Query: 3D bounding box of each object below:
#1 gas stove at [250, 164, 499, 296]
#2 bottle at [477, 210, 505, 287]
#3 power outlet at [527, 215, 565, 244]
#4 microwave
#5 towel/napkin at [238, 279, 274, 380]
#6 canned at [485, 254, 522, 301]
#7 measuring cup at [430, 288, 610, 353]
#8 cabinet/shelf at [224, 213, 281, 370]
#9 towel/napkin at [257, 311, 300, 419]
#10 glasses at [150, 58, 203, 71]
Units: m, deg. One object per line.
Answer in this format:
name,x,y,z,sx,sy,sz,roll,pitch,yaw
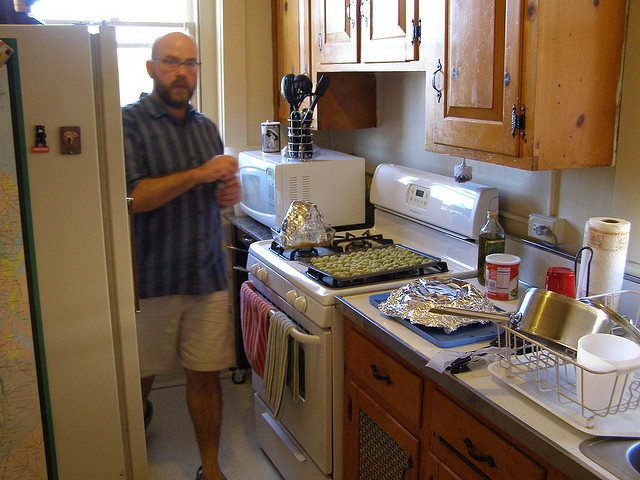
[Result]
gas stove,0.258,-0.093,2.335,0.650,0.435,0.919,1,11,-19
bottle,0.611,0.024,1.911,0.094,0.272,0.106,3,9,16
power outlet,0.818,-0.043,1.916,0.068,0.097,0.128,-12,19,-23
microwave,-0.176,-0.268,2.851,0.408,0.308,0.561,-6,12,-25
towel/napkin,-0.276,0.416,2.353,0.087,0.346,0.453,-3,13,-21
canned,0.633,0.127,1.826,0.118,0.137,0.125,1,12,9
measuring cup,0.534,0.218,1.448,0.481,0.116,0.279,2,-8,8
cabinet/shelf,-0.326,0.322,3.093,0.375,0.860,0.405,-5,19,-20
towel/napkin,-0.162,0.508,2.114,0.120,0.413,0.219,-9,18,-20
glasses,-0.587,-0.709,2.123,0.167,0.041,0.054,-8,18,-17
